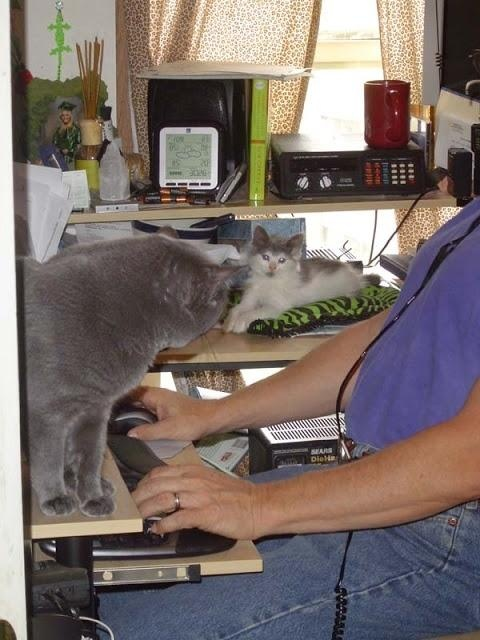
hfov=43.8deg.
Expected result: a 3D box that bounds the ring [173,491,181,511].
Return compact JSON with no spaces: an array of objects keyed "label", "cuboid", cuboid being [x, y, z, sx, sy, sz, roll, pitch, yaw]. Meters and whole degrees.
[{"label":"ring","cuboid":[-0.077,0.223,0.733,0.017,0.017,0.017,2,7,0]}]

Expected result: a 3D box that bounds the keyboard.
[{"label":"keyboard","cuboid":[-0.109,0.262,0.760,0.230,0.163,0.064,14,37,20]}]

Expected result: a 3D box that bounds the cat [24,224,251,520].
[{"label":"cat","cuboid":[-0.130,0.043,0.694,0.124,0.273,0.301,10,18,26]}]

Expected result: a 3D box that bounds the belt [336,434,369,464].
[{"label":"belt","cuboid":[0.168,0.206,0.921,0.022,0.044,0.063,-11,-6,-25]}]

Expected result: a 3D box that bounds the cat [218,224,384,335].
[{"label":"cat","cuboid":[0.140,-0.133,1.754,0.589,0.285,0.202,-14,12,-26]}]

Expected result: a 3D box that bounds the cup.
[{"label":"cup","cuboid":[0.438,-0.610,1.783,0.144,0.195,0.123,5,17,12]}]
